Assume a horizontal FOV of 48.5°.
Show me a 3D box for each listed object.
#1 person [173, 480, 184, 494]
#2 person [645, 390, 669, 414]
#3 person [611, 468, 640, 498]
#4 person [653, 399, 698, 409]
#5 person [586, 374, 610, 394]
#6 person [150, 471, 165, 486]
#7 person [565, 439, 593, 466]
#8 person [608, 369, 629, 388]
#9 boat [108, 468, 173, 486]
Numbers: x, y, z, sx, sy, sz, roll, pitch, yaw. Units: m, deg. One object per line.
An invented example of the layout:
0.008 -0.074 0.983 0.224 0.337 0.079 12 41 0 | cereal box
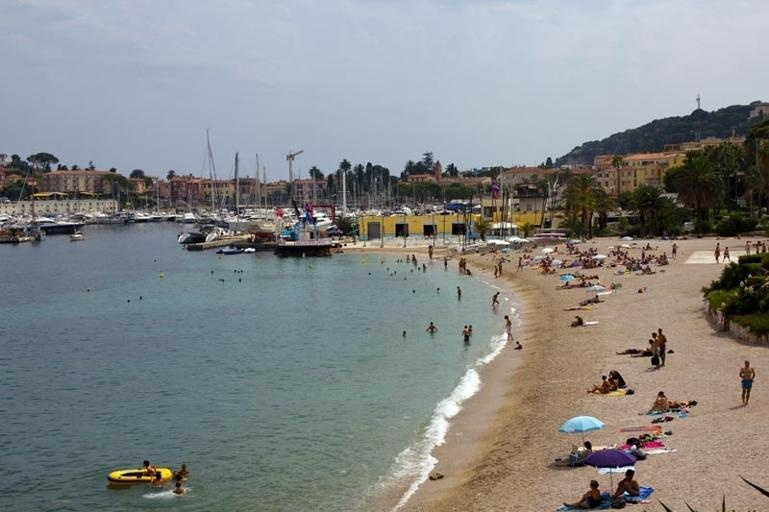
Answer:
-11.920 13.256 49.111 0.650 0.421 0.930 -9 14 -17 | person
16.592 8.710 51.362 1.321 1.614 1.121 4 2 35 | person
12.605 11.691 44.364 1.699 1.302 0.994 -10 14 -18 | person
17.253 8.713 50.769 2.556 0.640 0.731 -6 13 -2 | person
13.853 8.116 54.507 1.040 0.506 1.269 1 9 20 | person
-13.274 12.905 49.702 0.669 0.600 0.721 -16 17 -39 | person
10.818 10.999 47.345 0.648 1.175 1.504 36 -35 -22 | person
14.961 7.833 54.534 0.285 1.045 1.049 -16 12 3 | person
-14.453 12.875 49.942 2.708 0.477 1.517 3 -2 -4 | boat
